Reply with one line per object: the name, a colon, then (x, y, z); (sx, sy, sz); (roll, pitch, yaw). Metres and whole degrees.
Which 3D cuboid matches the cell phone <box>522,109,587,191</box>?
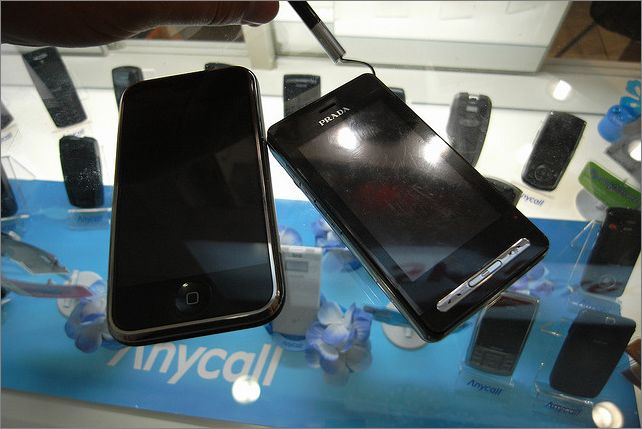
cell phone: (0.550, -0.148, 1.174); (0.113, 0.048, 0.207); (26, 90, 10)
